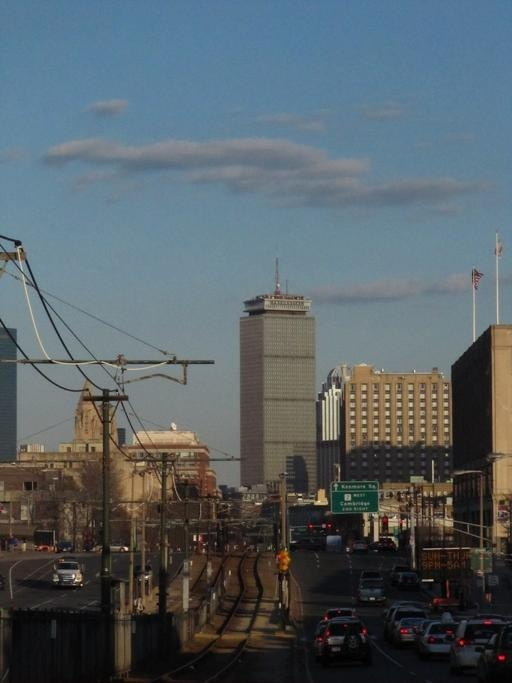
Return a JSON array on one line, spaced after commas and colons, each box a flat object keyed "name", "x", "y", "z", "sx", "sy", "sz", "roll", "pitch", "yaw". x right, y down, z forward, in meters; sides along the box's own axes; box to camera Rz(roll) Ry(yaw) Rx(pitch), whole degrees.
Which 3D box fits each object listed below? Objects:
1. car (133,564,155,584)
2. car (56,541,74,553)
[{"name": "car", "x": -7.371, "y": 14.927, "z": 125.489, "sx": 1.406, "sy": 1.568, "sz": 2.895, "roll": 0, "pitch": -13, "yaw": -3}, {"name": "car", "x": -15.964, "y": 17.060, "z": 160.187, "sx": 1.215, "sy": 1.075, "sz": 2.930, "roll": 2, "pitch": 5, "yaw": -3}]
